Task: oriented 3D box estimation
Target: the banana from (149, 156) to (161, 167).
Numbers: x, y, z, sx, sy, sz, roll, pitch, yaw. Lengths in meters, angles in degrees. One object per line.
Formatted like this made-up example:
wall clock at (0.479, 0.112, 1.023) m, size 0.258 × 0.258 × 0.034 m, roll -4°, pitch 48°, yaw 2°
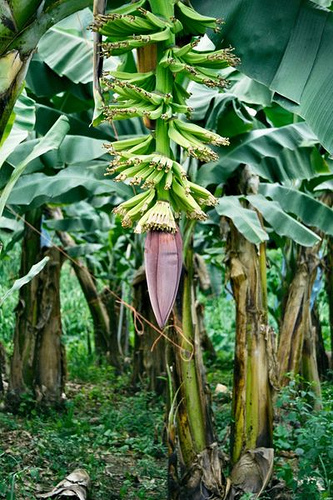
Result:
banana at (-0.034, -0.270, 1.914) m, size 0.021 × 0.036 × 0.013 m, roll 13°, pitch -20°, yaw 10°

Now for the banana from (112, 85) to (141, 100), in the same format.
banana at (-0.144, -0.504, 2.000) m, size 0.046 × 0.029 × 0.117 m, roll 14°, pitch 4°, yaw 33°

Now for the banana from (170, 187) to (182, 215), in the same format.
banana at (0.028, -0.151, 2.074) m, size 0.020 × 0.110 × 0.031 m, roll -8°, pitch 22°, yaw -2°

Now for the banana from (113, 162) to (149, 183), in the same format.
banana at (-0.109, -0.247, 1.980) m, size 0.032 × 0.027 × 0.112 m, roll -10°, pitch 21°, yaw 47°

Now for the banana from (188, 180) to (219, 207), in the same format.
banana at (0.108, -0.189, 2.070) m, size 0.042 × 0.057 × 0.154 m, roll -18°, pitch 44°, yaw -28°

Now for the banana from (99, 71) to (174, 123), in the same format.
banana at (-0.126, -0.493, 2.024) m, size 0.130 × 0.053 × 0.105 m, roll 28°, pitch -17°, yaw 20°

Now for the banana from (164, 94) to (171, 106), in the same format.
banana at (-0.001, -0.469, 1.973) m, size 0.019 × 0.028 × 0.056 m, roll 10°, pitch 4°, yaw -5°

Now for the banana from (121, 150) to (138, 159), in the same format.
banana at (-0.117, -0.295, 1.968) m, size 0.051 × 0.019 × 0.069 m, roll 10°, pitch 4°, yaw -21°

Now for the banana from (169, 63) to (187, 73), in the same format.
banana at (0.031, -0.561, 1.938) m, size 0.023 × 0.022 × 0.058 m, roll -4°, pitch 11°, yaw -19°

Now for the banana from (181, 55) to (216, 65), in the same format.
banana at (0.099, -0.615, 2.027) m, size 0.114 × 0.030 × 0.048 m, roll 8°, pitch 25°, yaw 13°

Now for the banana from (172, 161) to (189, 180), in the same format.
banana at (0.042, -0.248, 2.003) m, size 0.025 × 0.033 × 0.090 m, roll -4°, pitch 37°, yaw -13°

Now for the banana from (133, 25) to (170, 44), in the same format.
banana at (-0.051, -0.669, 1.980) m, size 0.043 × 0.053 × 0.141 m, roll 24°, pitch 42°, yaw 32°

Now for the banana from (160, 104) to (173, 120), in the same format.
banana at (0.001, -0.434, 1.972) m, size 0.028 × 0.022 × 0.070 m, roll -20°, pitch 17°, yaw 23°

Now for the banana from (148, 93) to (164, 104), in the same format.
banana at (-0.036, -0.469, 1.945) m, size 0.020 × 0.023 × 0.088 m, roll 13°, pitch 4°, yaw 26°

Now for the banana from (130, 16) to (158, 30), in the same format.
banana at (-0.073, -0.722, 2.003) m, size 0.062 × 0.016 × 0.017 m, roll 28°, pitch -15°, yaw -15°

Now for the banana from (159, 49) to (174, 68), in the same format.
banana at (0.000, -0.604, 1.963) m, size 0.039 × 0.051 × 0.115 m, roll 10°, pitch 4°, yaw -4°

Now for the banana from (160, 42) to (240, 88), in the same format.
banana at (0.136, -0.623, 2.041) m, size 0.155 × 0.082 × 0.091 m, roll -13°, pitch 35°, yaw -4°

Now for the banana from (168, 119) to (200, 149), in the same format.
banana at (0.048, -0.364, 1.993) m, size 0.075 × 0.077 × 0.144 m, roll 8°, pitch 5°, yaw -41°

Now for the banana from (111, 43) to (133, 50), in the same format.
banana at (-0.139, -0.628, 1.940) m, size 0.053 × 0.018 × 0.019 m, roll 0°, pitch -39°, yaw 3°

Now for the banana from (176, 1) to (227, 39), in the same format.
banana at (0.089, -0.775, 2.130) m, size 0.137 × 0.098 × 0.198 m, roll 11°, pitch 4°, yaw -5°

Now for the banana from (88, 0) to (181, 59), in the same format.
banana at (-0.141, -0.709, 2.052) m, size 0.141 × 0.204 × 0.286 m, roll -1°, pitch 2°, yaw -31°

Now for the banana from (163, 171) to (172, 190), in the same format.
banana at (0.002, -0.212, 1.924) m, size 0.017 × 0.054 × 0.015 m, roll 15°, pitch -37°, yaw -5°

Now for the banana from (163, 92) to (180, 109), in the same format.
banana at (0.014, -0.481, 2.016) m, size 0.025 × 0.025 × 0.083 m, roll 29°, pitch 10°, yaw 0°

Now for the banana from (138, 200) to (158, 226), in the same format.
banana at (-0.064, -0.100, 1.897) m, size 0.021 × 0.124 × 0.019 m, roll 10°, pitch -37°, yaw 39°

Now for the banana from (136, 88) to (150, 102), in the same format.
banana at (-0.073, -0.481, 1.954) m, size 0.045 × 0.028 × 0.133 m, roll 11°, pitch 4°, yaw -4°

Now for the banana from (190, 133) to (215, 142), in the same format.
banana at (0.112, -0.363, 2.028) m, size 0.070 × 0.018 × 0.020 m, roll 30°, pitch -14°, yaw -29°

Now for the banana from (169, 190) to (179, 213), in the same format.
banana at (0.024, -0.163, 2.067) m, size 0.015 × 0.012 × 0.069 m, roll 7°, pitch -45°, yaw 28°

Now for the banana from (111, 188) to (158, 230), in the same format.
banana at (-0.085, -0.139, 2.010) m, size 0.058 × 0.164 × 0.086 m, roll 31°, pitch -29°, yaw 41°

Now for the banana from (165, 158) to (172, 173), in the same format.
banana at (0.005, -0.258, 1.919) m, size 0.018 × 0.039 × 0.010 m, roll -1°, pitch -5°, yaw -2°

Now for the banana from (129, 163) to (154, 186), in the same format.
banana at (-0.078, -0.240, 1.959) m, size 0.027 × 0.027 × 0.163 m, roll -13°, pitch 22°, yaw 35°

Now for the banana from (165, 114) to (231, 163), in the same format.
banana at (0.081, -0.342, 2.038) m, size 0.218 × 0.133 × 0.094 m, roll 25°, pitch 28°, yaw 15°

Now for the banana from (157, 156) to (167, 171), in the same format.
banana at (-0.012, -0.262, 1.918) m, size 0.016 × 0.048 × 0.014 m, roll -1°, pitch -38°, yaw 38°

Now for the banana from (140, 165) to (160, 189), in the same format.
banana at (-0.048, -0.225, 1.940) m, size 0.028 × 0.097 × 0.026 m, roll 28°, pitch -33°, yaw 0°

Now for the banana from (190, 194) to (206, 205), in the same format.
banana at (0.104, -0.165, 2.054) m, size 0.023 × 0.019 × 0.068 m, roll -16°, pitch 19°, yaw -17°

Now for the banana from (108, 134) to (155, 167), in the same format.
banana at (-0.127, -0.355, 2.101) m, size 0.175 × 0.069 × 0.042 m, roll -15°, pitch -20°, yaw 27°

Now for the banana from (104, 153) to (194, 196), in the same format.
banana at (-0.050, -0.242, 1.957) m, size 0.170 × 0.074 × 0.180 m, roll 0°, pitch -27°, yaw 26°

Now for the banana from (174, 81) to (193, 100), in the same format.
banana at (0.059, -0.536, 2.174) m, size 0.028 × 0.026 × 0.098 m, roll -23°, pitch -54°, yaw 20°

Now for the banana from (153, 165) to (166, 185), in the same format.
banana at (-0.023, -0.229, 1.934) m, size 0.020 × 0.078 × 0.014 m, roll 28°, pitch -45°, yaw -7°
